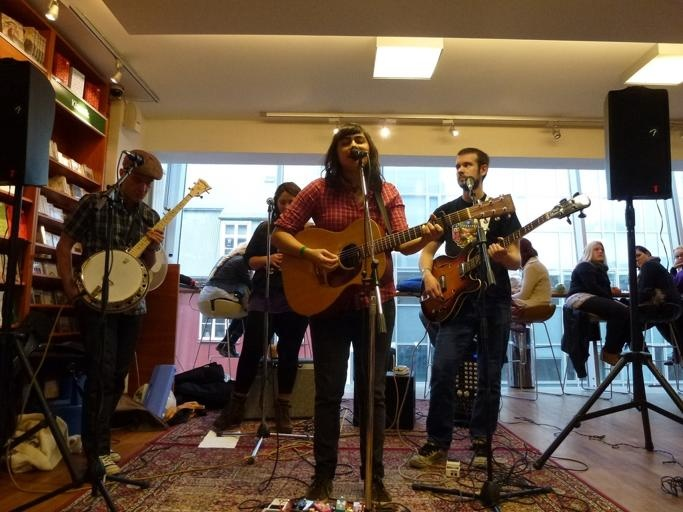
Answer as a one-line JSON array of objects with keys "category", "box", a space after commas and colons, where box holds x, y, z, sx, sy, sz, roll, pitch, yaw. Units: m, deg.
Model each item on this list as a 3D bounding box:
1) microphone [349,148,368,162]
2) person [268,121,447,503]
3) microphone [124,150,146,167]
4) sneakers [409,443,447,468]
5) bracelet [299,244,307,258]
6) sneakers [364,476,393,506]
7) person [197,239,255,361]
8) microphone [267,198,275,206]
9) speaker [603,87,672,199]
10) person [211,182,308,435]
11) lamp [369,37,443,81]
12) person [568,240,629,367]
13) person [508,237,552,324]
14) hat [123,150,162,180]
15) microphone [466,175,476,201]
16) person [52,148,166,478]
[{"category": "microphone", "box": [0.091, -0.556, 3.029, 0.085, 0.023, 0.063, 11, 6, -18]}, {"category": "person", "box": [0.032, 0.297, 3.085, 0.855, 2.106, 0.469, 1, -7, -6]}, {"category": "microphone", "box": [-1.270, -0.588, 3.345, 0.136, 0.074, 0.231, 2, 5, -5]}, {"category": "sneakers", "box": [0.562, 1.293, 3.556, 0.292, 0.139, 0.111, -2, 28, -18]}, {"category": "bracelet", "box": [-0.222, -0.026, 3.101, 0.035, 0.047, 0.045, 3, 15, -19]}, {"category": "sneakers", "box": [0.215, 1.311, 3.029, 0.088, 0.114, 0.275, -1, -19, -4]}, {"category": "person", "box": [-1.069, 0.429, 5.465, 0.485, 1.183, 0.630, -6, -15, 45]}, {"category": "microphone", "box": [-0.522, -0.390, 3.940, 0.053, 0.059, 0.013, 0, 0, 8]}, {"category": "speaker", "box": [2.129, -0.791, 3.871, 0.469, 0.825, 0.159, 0, -7, 6]}, {"category": "person", "box": [-0.596, 0.404, 4.357, 0.669, 1.985, 0.450, 3, -7, -29]}, {"category": "lamp", "box": [0.608, -1.851, 5.112, 0.587, 0.132, 0.544, 1, -8, -2]}, {"category": "person", "box": [2.879, 0.556, 6.091, 0.787, 0.627, 1.578, -5, 39, 23]}, {"category": "person", "box": [2.046, 0.236, 5.954, 0.464, 0.862, 0.509, -2, -2, 22]}, {"category": "hat", "box": [-1.238, -0.580, 3.465, 0.184, 0.144, 0.260, 14, -8, -41]}, {"category": "microphone", "box": [0.788, -0.424, 3.340, 0.076, 0.085, 0.307, -3, 22, 9]}, {"category": "person", "box": [-1.499, 0.340, 3.574, 0.604, 2.054, 0.585, 5, 0, -44]}]
